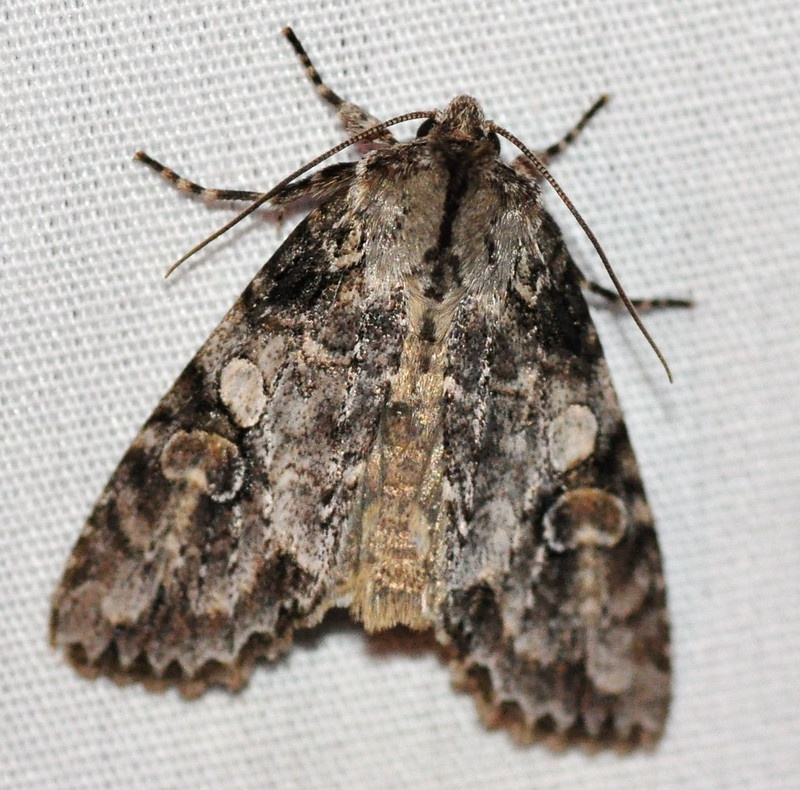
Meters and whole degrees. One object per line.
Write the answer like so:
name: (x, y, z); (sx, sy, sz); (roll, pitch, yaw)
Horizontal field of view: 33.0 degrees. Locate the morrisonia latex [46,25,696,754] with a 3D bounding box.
morrisonia latex: (-0.016, 0.006, 2.770); (1.085, 0.370, 1.403); (7, 94, 1)
